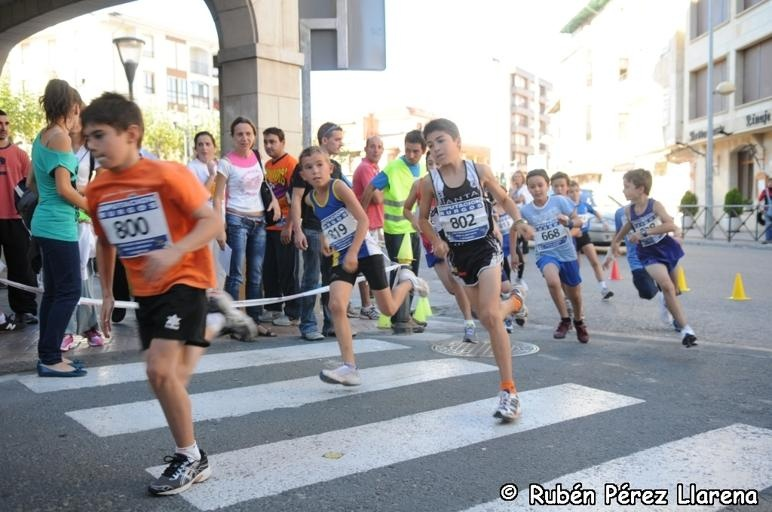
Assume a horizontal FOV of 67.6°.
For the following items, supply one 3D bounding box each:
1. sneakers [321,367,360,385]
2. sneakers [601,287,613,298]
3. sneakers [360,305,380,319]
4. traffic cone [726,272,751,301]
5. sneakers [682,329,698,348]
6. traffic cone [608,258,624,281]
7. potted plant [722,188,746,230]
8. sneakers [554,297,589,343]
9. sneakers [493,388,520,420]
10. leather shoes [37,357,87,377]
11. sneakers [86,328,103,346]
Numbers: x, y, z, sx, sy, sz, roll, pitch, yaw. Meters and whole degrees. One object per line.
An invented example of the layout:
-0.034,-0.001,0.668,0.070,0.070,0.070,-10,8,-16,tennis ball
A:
-0.422,1.184,5.594,0.411,0.202,0.156,12,-25,-21,sneakers
4.198,0.725,11.019,0.125,0.130,0.289,-47,-10,-3,sneakers
-0.251,0.902,9.196,0.370,0.166,0.133,6,8,37,sneakers
7.055,0.637,11.585,0.345,0.460,0.338,-8,15,-20,traffic cone
3.784,1.044,7.166,0.153,0.246,0.229,0,50,13,sneakers
5.640,0.358,14.215,0.398,0.447,0.393,-10,14,0,traffic cone
15.337,-2.004,25.496,0.802,1.755,2.857,4,7,31,potted plant
2.453,0.967,7.697,0.221,0.273,0.643,0,3,-10,sneakers
1.013,1.267,4.868,0.122,0.154,0.332,-5,-8,24,sneakers
-3.284,1.159,5.867,0.324,0.115,0.245,-1,10,-23,leather shoes
-3.638,1.009,7.191,0.321,0.148,0.137,5,8,44,sneakers
